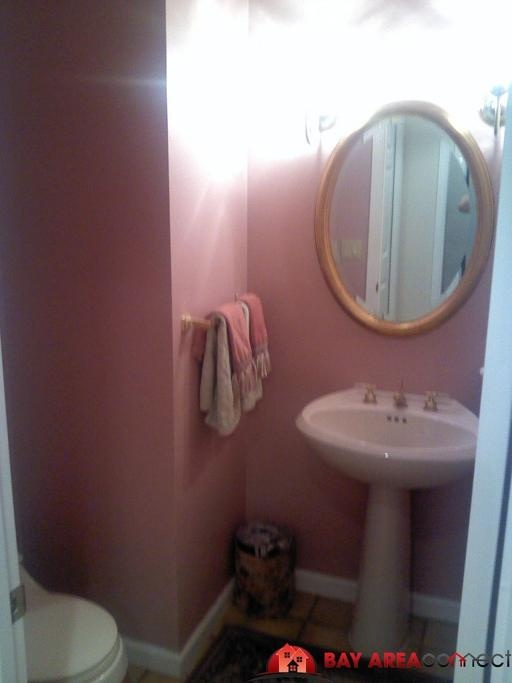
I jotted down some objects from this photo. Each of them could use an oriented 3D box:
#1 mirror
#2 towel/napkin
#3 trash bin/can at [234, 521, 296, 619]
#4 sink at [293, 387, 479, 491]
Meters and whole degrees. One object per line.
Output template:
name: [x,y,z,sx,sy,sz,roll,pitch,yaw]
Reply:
mirror: [0.447,-0.374,1.708,0.542,0.093,0.950,10,-35,21]
towel/napkin: [-0.083,0.048,1.675,0.072,0.374,0.316,1,13,14]
trash bin/can: [0.034,0.763,1.833,0.164,0.310,0.224,0,1,-4]
sink: [0.371,0.263,1.602,0.506,0.203,0.412,9,11,30]
